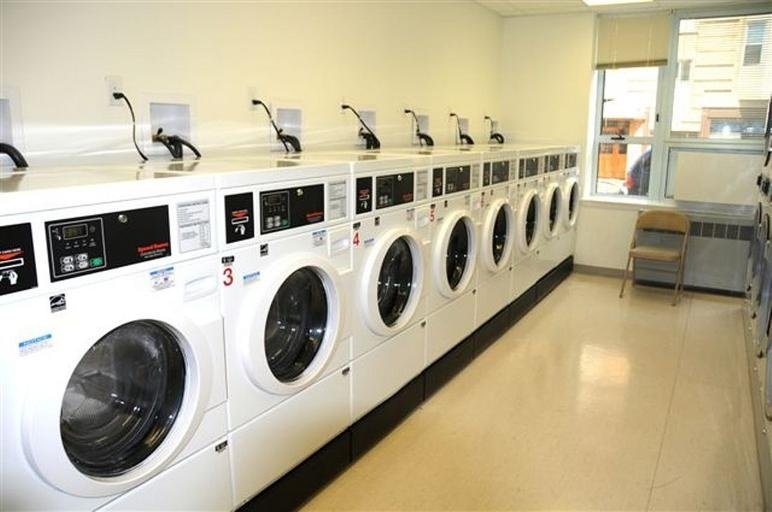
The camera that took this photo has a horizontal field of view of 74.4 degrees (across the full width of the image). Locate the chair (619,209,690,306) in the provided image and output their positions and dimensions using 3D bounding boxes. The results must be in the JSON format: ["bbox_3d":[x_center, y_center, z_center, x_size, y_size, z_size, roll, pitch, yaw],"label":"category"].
[{"bbox_3d":[2.984,0.004,5.626,0.651,0.964,0.752,5,13,19],"label":"chair"}]
